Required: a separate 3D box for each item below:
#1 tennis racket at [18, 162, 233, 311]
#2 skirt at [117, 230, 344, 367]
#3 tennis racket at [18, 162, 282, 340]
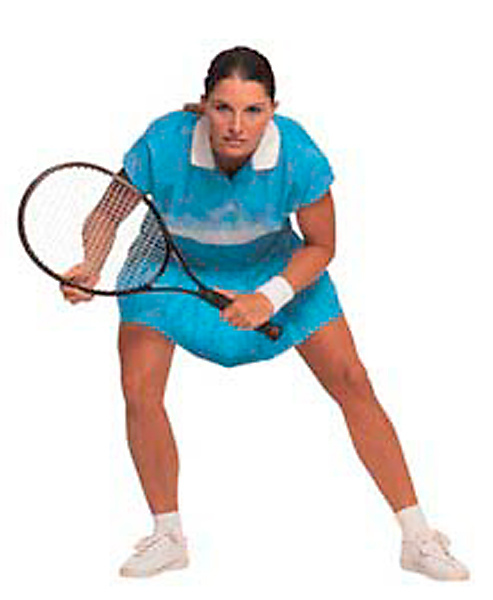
[{"bbox_3d":[-0.451,-0.191,2.495,0.789,0.543,0.320,-6,-12,-42],"label":"tennis racket"},{"bbox_3d":[-0.151,-0.020,2.882,0.806,0.565,0.608,-3,12,-39],"label":"skirt"},{"bbox_3d":[-0.271,-0.127,2.696,0.105,0.441,1.375,6,-14,46],"label":"tennis racket"}]
